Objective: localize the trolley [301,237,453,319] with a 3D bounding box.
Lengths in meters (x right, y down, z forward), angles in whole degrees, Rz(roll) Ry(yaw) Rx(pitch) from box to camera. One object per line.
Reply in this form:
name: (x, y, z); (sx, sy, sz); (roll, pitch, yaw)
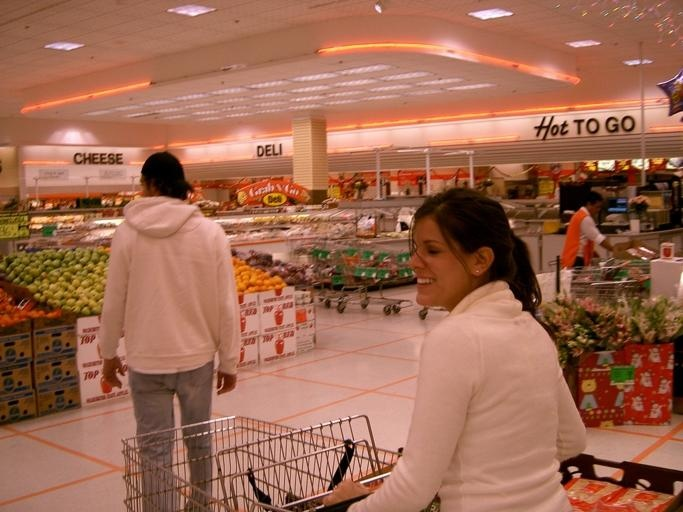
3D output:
trolley: (0.722, 0.382, 9.396); (1.814, 0.961, 2.122); (-1, -2, 31)
